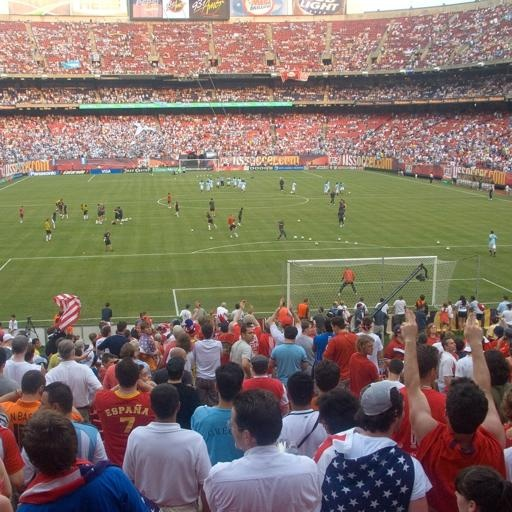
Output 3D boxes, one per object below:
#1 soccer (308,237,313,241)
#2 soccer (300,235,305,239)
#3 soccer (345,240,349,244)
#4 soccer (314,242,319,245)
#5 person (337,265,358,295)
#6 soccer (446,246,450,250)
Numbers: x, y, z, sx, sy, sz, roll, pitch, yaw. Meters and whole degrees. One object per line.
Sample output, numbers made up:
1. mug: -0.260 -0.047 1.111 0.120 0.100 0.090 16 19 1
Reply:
1. soccer: 3.189 -0.971 37.854 0.175 0.096 0.177 11 16 38
2. soccer: 2.768 -1.076 38.229 0.189 0.103 0.191 10 17 40
3. soccer: 5.135 -0.773 36.577 0.167 0.091 0.168 8 18 25
4. soccer: 3.422 -0.685 36.481 0.148 0.080 0.148 6 17 20
5. person: 3.776 0.982 26.685 0.674 1.018 1.336 2 12 8
6. soccer: 10.399 -0.429 35.314 0.205 0.099 0.206 4 12 29
